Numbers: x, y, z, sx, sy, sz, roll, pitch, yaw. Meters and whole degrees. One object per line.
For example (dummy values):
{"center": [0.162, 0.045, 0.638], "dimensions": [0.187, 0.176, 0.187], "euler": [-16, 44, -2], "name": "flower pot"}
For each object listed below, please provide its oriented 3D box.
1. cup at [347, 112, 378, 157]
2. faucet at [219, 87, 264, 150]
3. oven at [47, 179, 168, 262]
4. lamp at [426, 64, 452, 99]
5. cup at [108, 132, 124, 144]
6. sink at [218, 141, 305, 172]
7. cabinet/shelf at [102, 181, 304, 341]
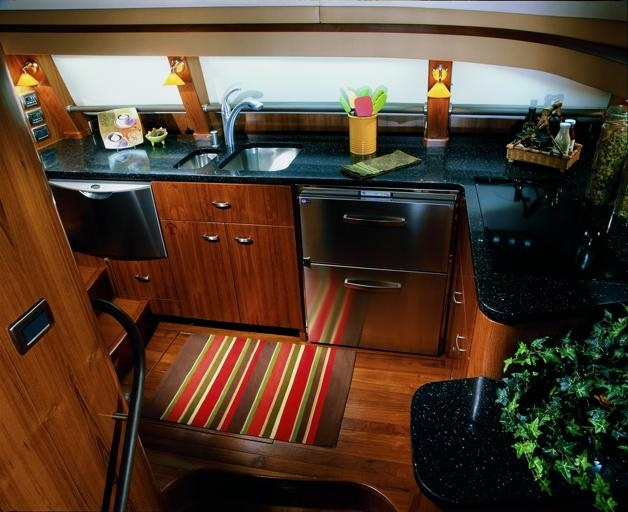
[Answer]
{"center": [0.249, -0.614, 2.259], "dimensions": [0.138, 0.197, 0.100], "euler": [-2, 35, 5], "name": "cup"}
{"center": [-0.405, -0.789, 2.482], "dimensions": [0.263, 0.317, 0.398], "euler": [-8, 33, -4], "name": "faucet"}
{"center": [-1.076, -0.219, 2.568], "dimensions": [0.656, 0.420, 0.422], "euler": [4, 39, 5], "name": "oven"}
{"center": [0.601, -0.830, 2.129], "dimensions": [0.157, 0.157, 0.132], "euler": [0, 40, 7], "name": "lamp"}
{"center": [-1.124, -0.669, 2.533], "dimensions": [0.082, 0.060, 0.061], "euler": [5, 35, 16], "name": "cup"}
{"center": [-0.308, -0.578, 2.515], "dimensions": [0.348, 0.117, 0.241], "euler": [2, 52, 3], "name": "sink"}
{"center": [-0.508, -0.058, 2.821], "dimensions": [1.444, 0.933, 0.772], "euler": [6, 36, 8], "name": "cabinet/shelf"}
